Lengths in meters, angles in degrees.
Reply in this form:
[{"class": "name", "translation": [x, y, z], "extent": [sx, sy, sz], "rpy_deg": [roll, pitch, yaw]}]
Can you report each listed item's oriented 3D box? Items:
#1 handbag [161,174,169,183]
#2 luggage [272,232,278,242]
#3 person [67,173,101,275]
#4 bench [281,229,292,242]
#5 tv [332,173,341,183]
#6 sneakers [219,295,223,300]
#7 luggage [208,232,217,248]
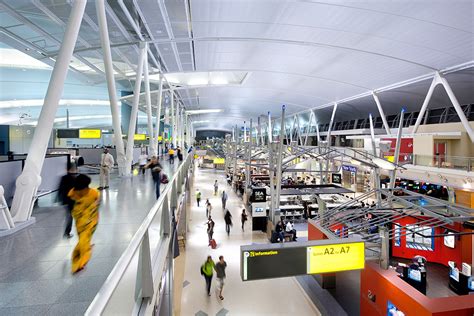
[{"class": "handbag", "translation": [-3.221, 0.931, 12.748], "extent": [0.332, 0.409, 0.483], "rpy_deg": [-2, 13, -4]}, {"class": "luggage", "translation": [2.701, 5.702, 20.678], "extent": [0.227, 0.795, 0.647], "rpy_deg": [-5, 11, -32]}, {"class": "person", "translation": [-4.069, 1.678, 7.615], "extent": [0.728, 2.356, 0.974], "rpy_deg": [-4, 10, -25]}, {"class": "bench", "translation": [3.791, 5.827, 21.235], "extent": [0.665, 0.520, 0.789], "rpy_deg": [2, 9, 8]}, {"class": "tv", "translation": [12.614, 2.633, 36.003], "extent": [0.645, 1.186, 1.205], "rpy_deg": [2, -3, -23]}, {"class": "sneakers", "translation": [-0.805, 7.194, 14.817], "extent": [0.197, 0.141, 0.198], "rpy_deg": [-1, 9, -8]}, {"class": "luggage", "translation": [-1.727, 5.749, 20.101], "extent": [0.278, 1.033, 0.635], "rpy_deg": [-15, -8, 6]}]
